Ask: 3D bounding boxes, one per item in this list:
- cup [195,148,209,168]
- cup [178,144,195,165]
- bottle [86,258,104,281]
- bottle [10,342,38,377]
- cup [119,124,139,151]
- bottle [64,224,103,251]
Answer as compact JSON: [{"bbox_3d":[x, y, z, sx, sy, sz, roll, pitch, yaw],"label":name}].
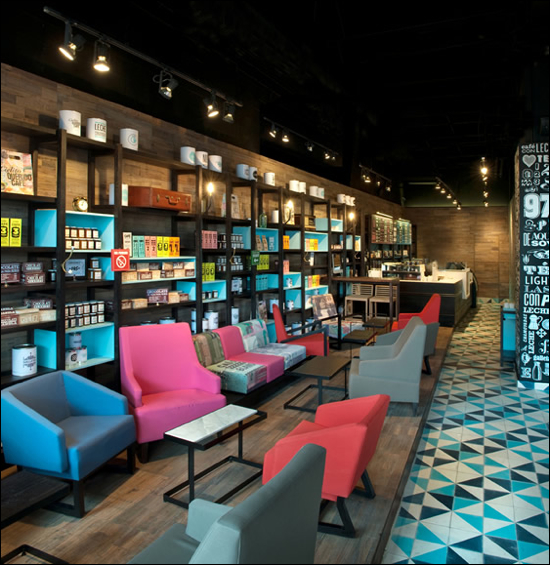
[{"bbox_3d":[-0.869,-1.470,5.513,0.179,0.228,0.191,-1,5,0],"label":"cup"},{"bbox_3d":[-0.999,-1.450,5.323,0.203,0.259,0.216,0,7,0],"label":"cup"},{"bbox_3d":[-1.684,-0.126,4.346,0.135,0.211,0.169,0,7,-22],"label":"bottle"},{"bbox_3d":[-2.016,0.634,3.825,0.205,0.254,0.215,-1,-1,33],"label":"bottle"},{"bbox_3d":[-1.430,-1.395,4.529,0.164,0.228,0.287,0,7,-22],"label":"cup"},{"bbox_3d":[-1.698,-0.386,4.100,0.114,0.212,0.418,3,7,12],"label":"bottle"}]
